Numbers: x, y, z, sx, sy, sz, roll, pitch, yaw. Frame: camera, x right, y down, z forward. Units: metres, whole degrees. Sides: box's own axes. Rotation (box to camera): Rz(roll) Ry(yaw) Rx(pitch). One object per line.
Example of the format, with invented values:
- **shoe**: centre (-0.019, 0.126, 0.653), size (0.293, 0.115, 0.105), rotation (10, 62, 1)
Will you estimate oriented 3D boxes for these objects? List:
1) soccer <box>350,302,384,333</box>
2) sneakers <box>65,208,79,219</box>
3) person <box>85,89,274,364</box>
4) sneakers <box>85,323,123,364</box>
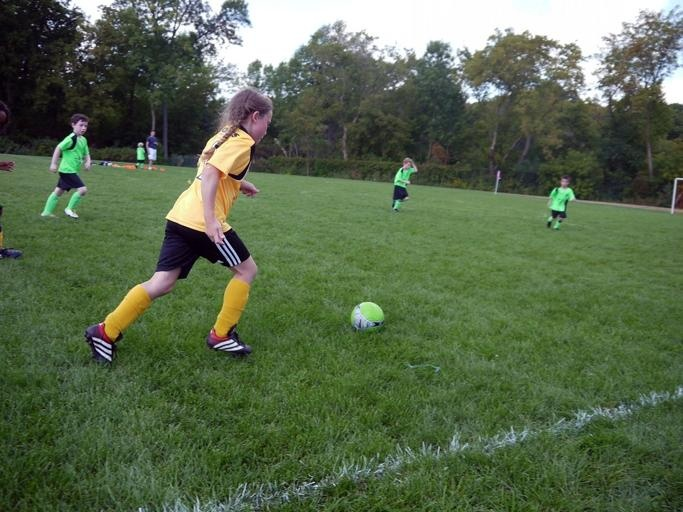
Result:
- **soccer**: centre (0.244, 0.655, 5.526), size (0.284, 0.301, 0.285), rotation (-10, -8, -25)
- **sneakers**: centre (-4.740, -0.734, 8.949), size (0.314, 0.135, 0.125), rotation (20, 13, 27)
- **person**: centre (-1.288, -0.276, 4.429), size (1.287, 2.379, 0.608), rotation (2, 12, -13)
- **sneakers**: centre (-2.012, 0.739, 4.342), size (0.271, 0.332, 0.165), rotation (-2, 13, -28)
